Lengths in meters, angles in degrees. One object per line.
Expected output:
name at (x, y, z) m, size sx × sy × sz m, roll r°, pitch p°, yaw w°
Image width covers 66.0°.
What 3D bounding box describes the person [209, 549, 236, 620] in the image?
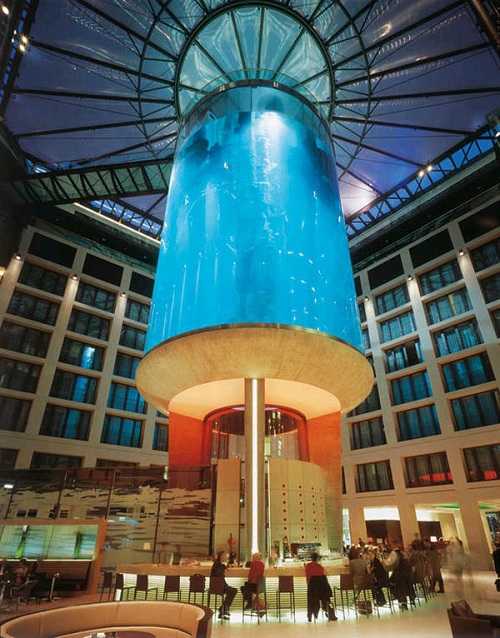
person at (-0.617, 6.105, 8.737) m, size 0.582 × 1.193 × 1.203 m, roll 2°, pitch -28°, yaw -2°
